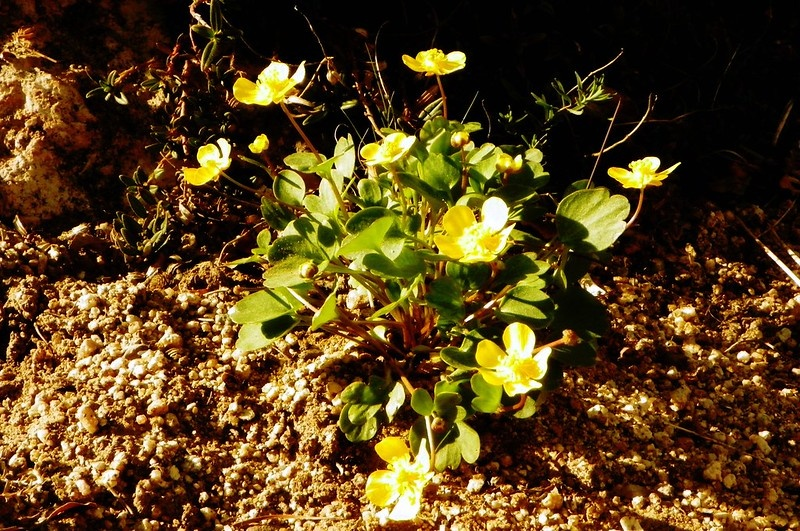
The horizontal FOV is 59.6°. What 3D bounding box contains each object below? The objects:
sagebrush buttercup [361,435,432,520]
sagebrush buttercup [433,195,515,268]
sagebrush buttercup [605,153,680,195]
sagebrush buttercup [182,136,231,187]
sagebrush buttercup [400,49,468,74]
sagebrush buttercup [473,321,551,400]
[{"bbox_3d":[0.009,0.894,2.903,0.280,0.181,0.350,6,73,9],"label":"sagebrush buttercup"},{"bbox_3d":[0.311,-0.163,2.963,0.316,0.347,0.140,5,88,-26],"label":"sagebrush buttercup"},{"bbox_3d":[1.084,-0.407,3.122,0.271,0.277,0.134,-3,86,31],"label":"sagebrush buttercup"},{"bbox_3d":[-0.907,-0.461,3.113,0.087,0.189,0.212,-43,83,8],"label":"sagebrush buttercup"},{"bbox_3d":[0.165,-0.949,3.283,0.225,0.196,0.081,-6,100,-17],"label":"sagebrush buttercup"},{"bbox_3d":[0.476,0.340,2.778,0.300,0.099,0.331,-12,35,30],"label":"sagebrush buttercup"}]
